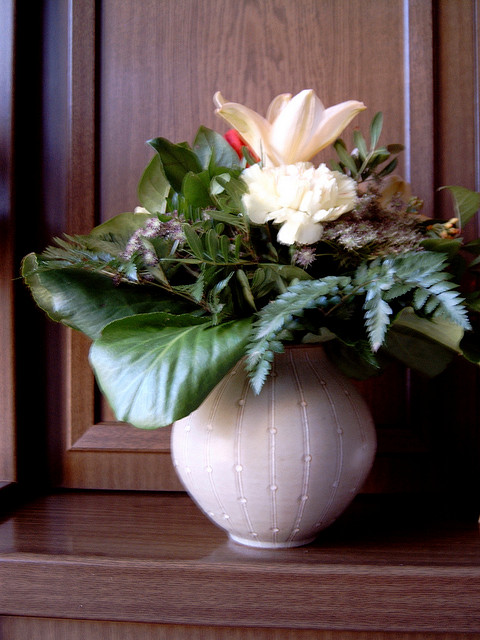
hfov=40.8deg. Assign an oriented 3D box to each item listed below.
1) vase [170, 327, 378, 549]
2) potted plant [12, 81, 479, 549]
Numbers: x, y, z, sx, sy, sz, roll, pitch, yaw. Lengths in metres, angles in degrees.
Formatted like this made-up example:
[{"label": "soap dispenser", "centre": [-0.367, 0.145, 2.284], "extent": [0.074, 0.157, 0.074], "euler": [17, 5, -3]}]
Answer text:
[{"label": "vase", "centre": [0.009, 0.121, 0.697], "extent": [0.219, 0.182, 0.210], "euler": [0, 6, -39]}, {"label": "potted plant", "centre": [0.050, 0.002, 0.814], "extent": [0.574, 0.443, 0.509], "euler": [-1, 6, -11]}]
